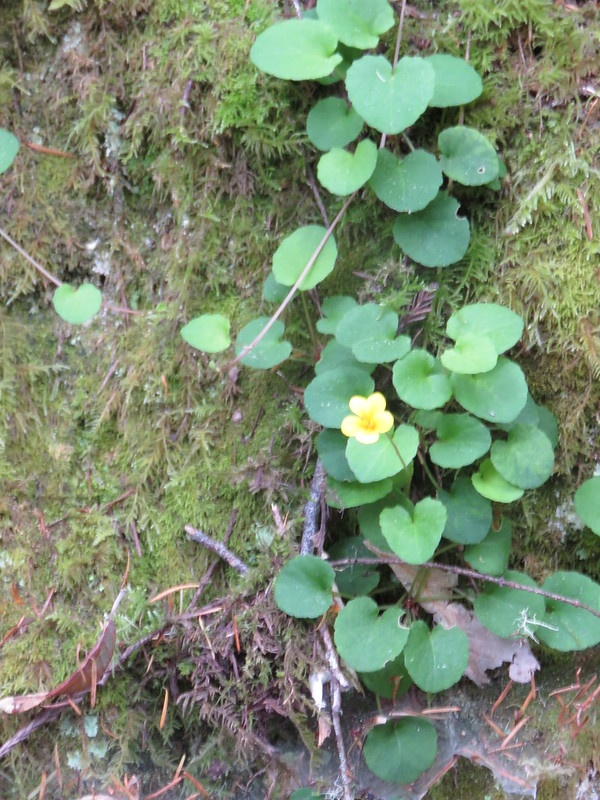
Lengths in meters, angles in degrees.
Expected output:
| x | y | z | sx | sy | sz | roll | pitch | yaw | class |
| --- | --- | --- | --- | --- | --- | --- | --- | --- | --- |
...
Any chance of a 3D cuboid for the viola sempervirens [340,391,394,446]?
| x | y | z | sx | sy | sz | roll | pitch | yaw | class |
| --- | --- | --- | --- | --- | --- | --- | --- | --- | --- |
| 0.182 | 0.039 | 1.866 | 0.140 | 0.161 | 0.051 | -19 | 63 | 1 | viola sempervirens |
